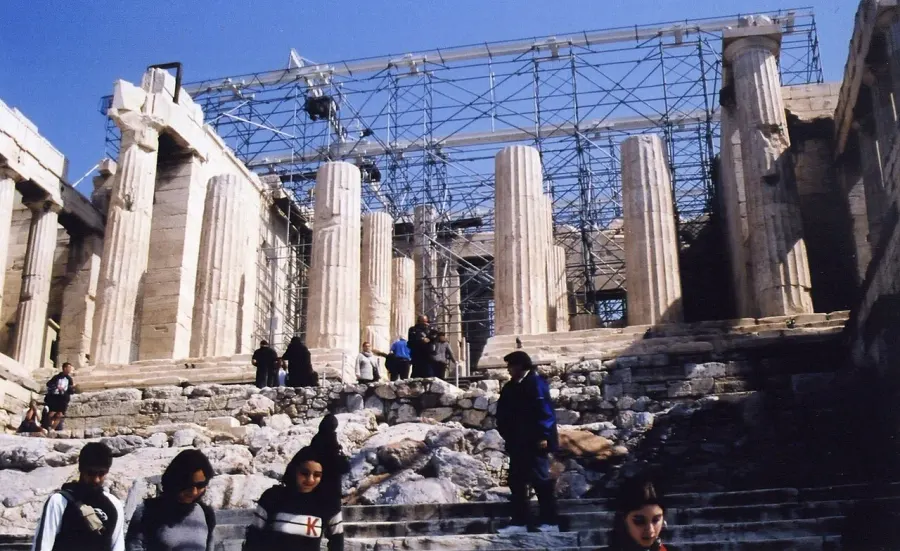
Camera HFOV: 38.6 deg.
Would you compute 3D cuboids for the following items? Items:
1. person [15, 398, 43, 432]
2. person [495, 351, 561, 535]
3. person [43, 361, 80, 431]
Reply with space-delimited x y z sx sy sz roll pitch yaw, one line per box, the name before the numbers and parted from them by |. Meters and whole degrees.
person | -10.483 3.485 31.972 0.714 0.958 0.826 6 -21 -25
person | 1.325 2.863 22.506 1.023 3.066 1.073 -3 -22 1
person | -9.562 2.931 31.391 0.678 1.834 1.035 4 -23 -16
